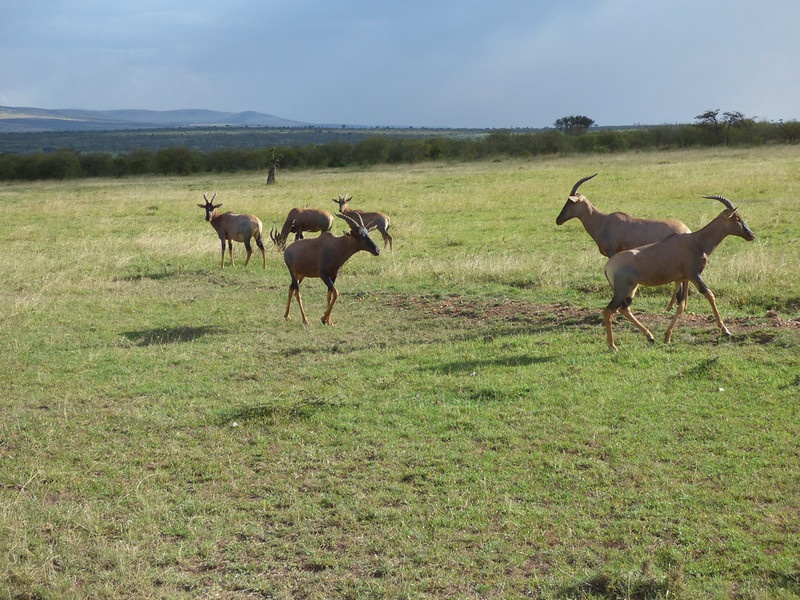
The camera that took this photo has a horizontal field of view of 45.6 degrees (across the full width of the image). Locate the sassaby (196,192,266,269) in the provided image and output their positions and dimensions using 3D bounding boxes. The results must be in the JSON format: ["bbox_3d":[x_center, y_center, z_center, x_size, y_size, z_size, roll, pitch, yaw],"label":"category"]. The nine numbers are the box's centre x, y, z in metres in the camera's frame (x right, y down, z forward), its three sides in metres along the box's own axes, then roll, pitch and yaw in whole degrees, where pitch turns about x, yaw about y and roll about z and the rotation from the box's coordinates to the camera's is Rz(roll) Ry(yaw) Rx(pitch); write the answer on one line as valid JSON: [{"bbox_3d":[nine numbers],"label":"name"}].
[{"bbox_3d":[-4.604,-1.831,26.239,2.175,1.979,0.757,7,8,31],"label":"sassaby"}]

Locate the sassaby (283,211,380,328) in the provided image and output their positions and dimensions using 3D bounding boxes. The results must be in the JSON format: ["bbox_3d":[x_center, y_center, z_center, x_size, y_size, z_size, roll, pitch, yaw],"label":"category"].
[{"bbox_3d":[-1.469,-0.564,19.977,2.409,2.468,0.946,-2,-1,27],"label":"sassaby"}]
